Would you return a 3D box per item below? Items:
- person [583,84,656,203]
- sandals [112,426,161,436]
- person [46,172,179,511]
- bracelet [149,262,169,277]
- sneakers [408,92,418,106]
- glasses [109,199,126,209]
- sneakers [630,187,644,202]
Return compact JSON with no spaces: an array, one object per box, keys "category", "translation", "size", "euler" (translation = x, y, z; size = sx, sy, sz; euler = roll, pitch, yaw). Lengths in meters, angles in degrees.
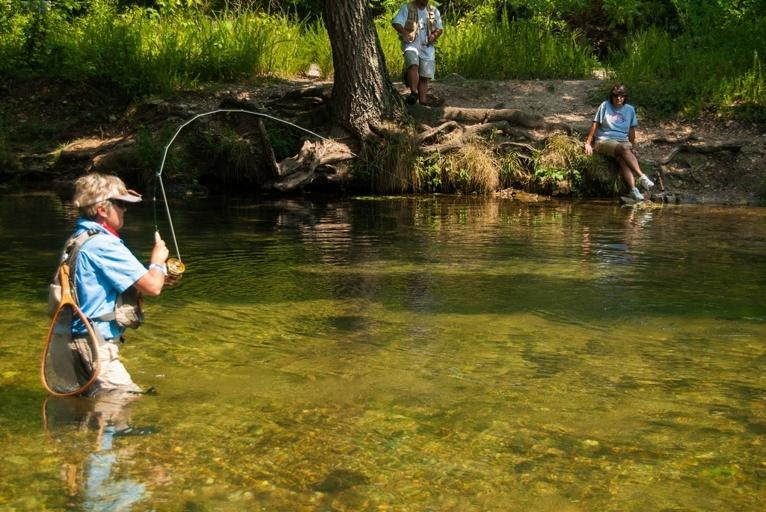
[{"category":"person","translation":[4.897,-2.278,14.563],"size":[1.444,2.276,0.955],"euler":[-2,3,-45]},{"category":"sandals","translation":[-1.842,1.314,5.281],"size":[0.302,0.030,0.121],"euler":[0,9,-3]},{"category":"person","translation":[-2.146,0.406,5.332],"size":[0.899,2.030,1.377],"euler":[0,10,2]},{"category":"bracelet","translation":[-1.732,0.099,5.492],"size":[0.122,0.104,0.107],"euler":[-2,38,-2]},{"category":"sneakers","translation":[0.687,-3.544,15.832],"size":[0.246,0.265,0.647],"euler":[2,10,4]},{"category":"glasses","translation":[-2.048,-0.414,5.449],"size":[0.026,0.084,0.088],"euler":[-36,-11,11]},{"category":"sneakers","translation":[5.157,-1.259,14.249],"size":[0.261,0.253,0.248],"euler":[1,10,8]}]
